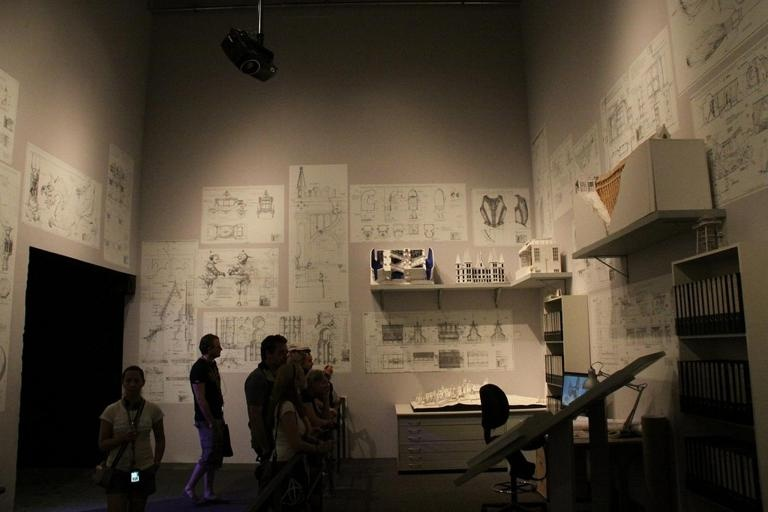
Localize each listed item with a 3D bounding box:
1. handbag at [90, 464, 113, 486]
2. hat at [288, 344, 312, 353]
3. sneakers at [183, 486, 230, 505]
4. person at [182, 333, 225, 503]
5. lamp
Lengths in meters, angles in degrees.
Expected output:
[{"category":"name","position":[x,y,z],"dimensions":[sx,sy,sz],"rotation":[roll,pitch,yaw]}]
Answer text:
[{"category":"handbag","position":[-2.652,2.066,5.683],"dimensions":[0.153,0.211,0.207],"rotation":[5,-14,-24]},{"category":"hat","position":[-1.174,1.283,8.336],"dimensions":[0.370,0.088,0.343],"rotation":[-2,-6,20]},{"category":"sneakers","position":[-2.205,2.991,7.515],"dimensions":[0.583,0.232,0.210],"rotation":[3,-20,-3]},{"category":"person","position":[-2.177,2.007,7.396],"dimensions":[0.439,2.012,0.616],"rotation":[3,-13,-15]},{"category":"lamp","position":[2.452,1.545,6.316],"dimensions":[0.633,0.739,0.255],"rotation":[-7,8,8]}]
